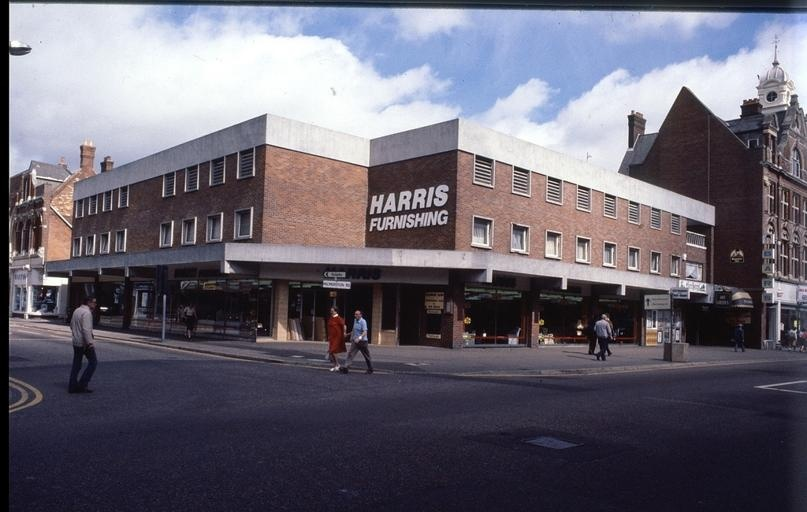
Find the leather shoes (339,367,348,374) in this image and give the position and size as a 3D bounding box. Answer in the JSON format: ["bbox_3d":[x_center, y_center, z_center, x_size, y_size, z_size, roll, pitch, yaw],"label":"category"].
[{"bbox_3d":[-1.909,3.692,23.060,0.265,0.204,0.467,2,-10,-11],"label":"leather shoes"}]

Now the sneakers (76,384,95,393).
[{"bbox_3d":[-8.012,3.326,17.909,0.460,0.200,0.156,4,-2,-19],"label":"sneakers"}]

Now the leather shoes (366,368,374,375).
[{"bbox_3d":[-1.098,3.757,23.293,0.211,0.269,0.621,1,0,-3],"label":"leather shoes"}]
